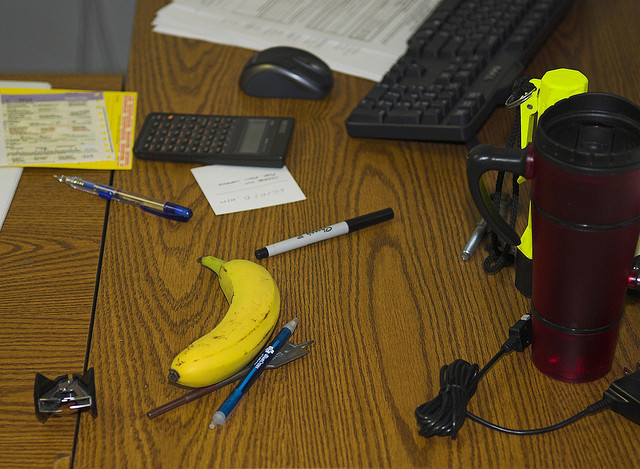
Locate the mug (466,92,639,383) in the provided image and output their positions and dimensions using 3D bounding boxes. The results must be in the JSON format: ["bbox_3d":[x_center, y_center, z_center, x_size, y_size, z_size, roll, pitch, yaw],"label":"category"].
[{"bbox_3d":[0.265,-0.019,0.702,0.190,0.270,0.282,9,36,12],"label":"mug"}]

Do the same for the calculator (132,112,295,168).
[{"bbox_3d":[-0.179,-0.159,0.987,0.258,0.079,0.099,8,27,2],"label":"calculator"}]

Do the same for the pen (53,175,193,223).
[{"bbox_3d":[-0.315,-0.063,0.916,0.265,0.023,0.024,17,28,17],"label":"pen"}]

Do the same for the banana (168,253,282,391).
[{"bbox_3d":[-0.121,0.112,0.749,0.124,0.061,0.225,15,36,2],"label":"banana"}]

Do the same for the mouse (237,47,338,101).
[{"bbox_3d":[-0.059,-0.284,1.063,0.149,0.052,0.089,1,45,0],"label":"mouse"}]

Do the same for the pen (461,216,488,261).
[{"bbox_3d":[0.215,0.007,0.822,0.019,0.019,0.104,24,48,19],"label":"pen"}]
